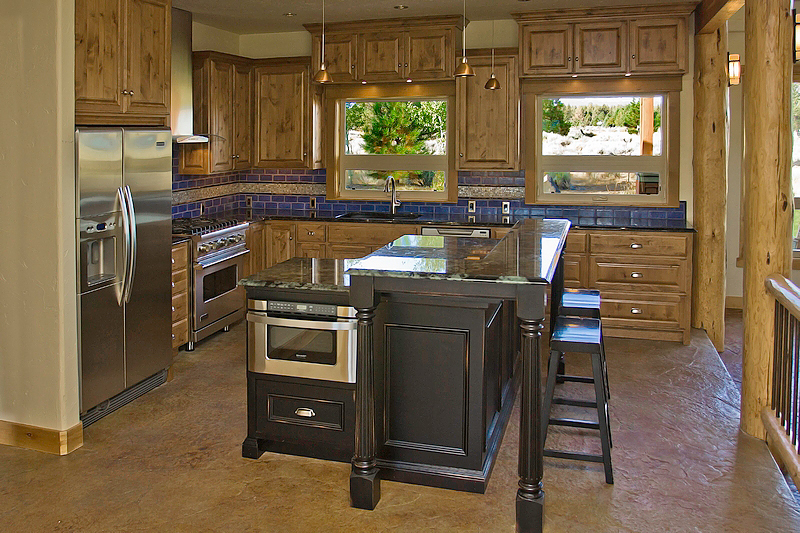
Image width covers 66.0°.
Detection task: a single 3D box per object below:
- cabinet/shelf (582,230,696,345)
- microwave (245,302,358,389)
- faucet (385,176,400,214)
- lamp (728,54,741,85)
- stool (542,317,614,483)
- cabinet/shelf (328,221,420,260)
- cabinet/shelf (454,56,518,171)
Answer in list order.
[{"bbox_3d":[2.496,0.182,6.418,1.165,1.096,0.458,1,3,16],"label":"cabinet/shelf"},{"bbox_3d":[-0.664,0.576,4.282,0.800,0.546,0.553,2,3,16],"label":"microwave"},{"bbox_3d":[-0.069,-0.897,7.689,0.185,0.453,0.399,0,15,-1],"label":"faucet"},{"bbox_3d":[3.478,-2.064,6.437,0.134,0.315,0.396,7,17,24],"label":"lamp"},{"bbox_3d":[1.337,1.040,4.636,0.616,1.091,1.102,-1,5,17],"label":"stool"},{"bbox_3d":[-0.377,-0.216,7.333,0.881,0.607,0.454,1,3,14],"label":"cabinet/shelf"},{"bbox_3d":[1.012,-1.761,7.069,0.708,1.270,0.283,1,15,3],"label":"cabinet/shelf"}]
